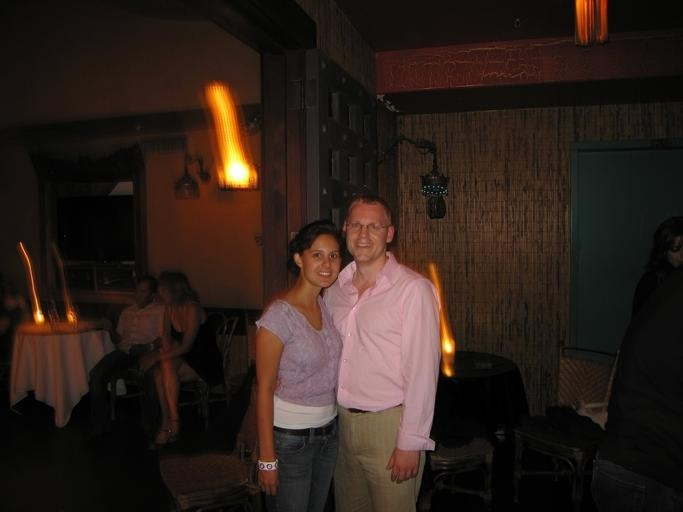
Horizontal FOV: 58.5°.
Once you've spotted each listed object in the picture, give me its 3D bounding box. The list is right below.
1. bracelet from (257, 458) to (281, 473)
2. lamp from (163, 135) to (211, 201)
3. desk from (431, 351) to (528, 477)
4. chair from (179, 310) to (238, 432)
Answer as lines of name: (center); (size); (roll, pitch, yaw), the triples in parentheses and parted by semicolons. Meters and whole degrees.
bracelet: (-0.423, 1.202, 3.517); (0.077, 0.047, 0.071); (-1, -8, 6)
lamp: (-1.910, -1.093, 7.730); (0.524, 0.739, 0.169); (7, 14, 27)
desk: (1.161, 1.238, 5.072); (0.677, 0.807, 0.799); (1, 7, 21)
chair: (-1.317, 1.106, 6.528); (0.832, 1.315, 0.762); (1, -7, 1)
